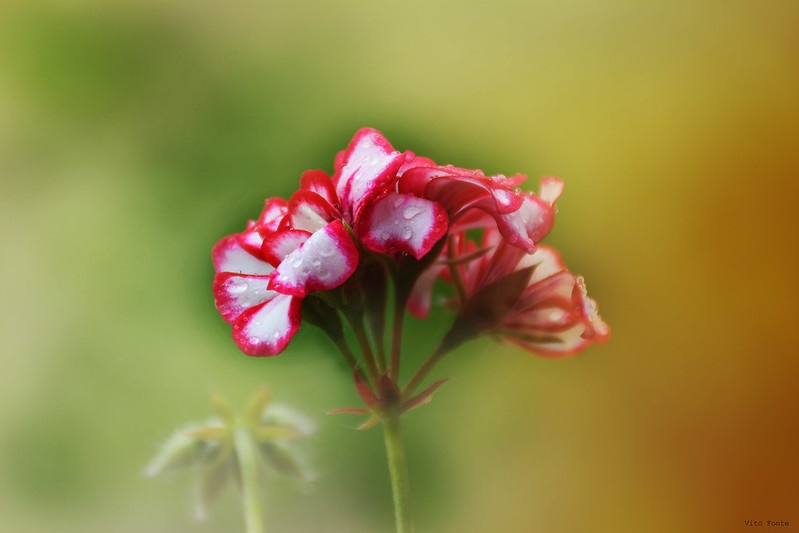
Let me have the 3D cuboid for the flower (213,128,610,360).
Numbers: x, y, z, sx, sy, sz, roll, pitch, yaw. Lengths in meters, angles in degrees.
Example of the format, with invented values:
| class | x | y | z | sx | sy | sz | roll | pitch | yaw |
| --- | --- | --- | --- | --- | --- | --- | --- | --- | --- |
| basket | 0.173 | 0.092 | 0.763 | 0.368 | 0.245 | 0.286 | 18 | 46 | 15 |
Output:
| class | x | y | z | sx | sy | sz | roll | pitch | yaw |
| --- | --- | --- | --- | --- | --- | --- | --- | --- | --- |
| flower | 0.026 | -0.041 | 1.082 | 0.388 | 0.191 | 0.329 | -11 | -11 | -43 |
